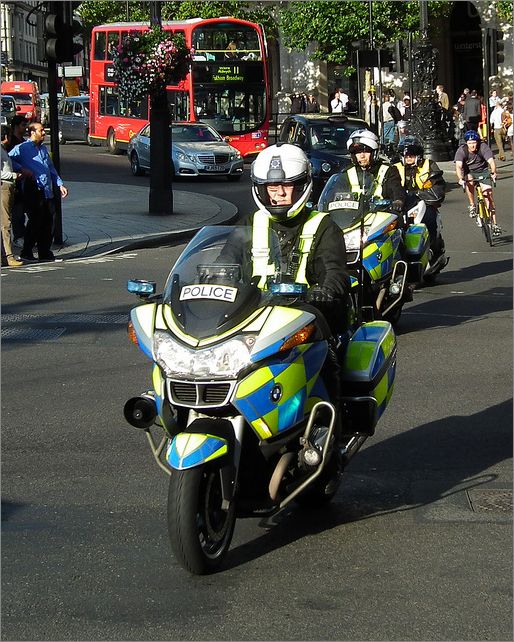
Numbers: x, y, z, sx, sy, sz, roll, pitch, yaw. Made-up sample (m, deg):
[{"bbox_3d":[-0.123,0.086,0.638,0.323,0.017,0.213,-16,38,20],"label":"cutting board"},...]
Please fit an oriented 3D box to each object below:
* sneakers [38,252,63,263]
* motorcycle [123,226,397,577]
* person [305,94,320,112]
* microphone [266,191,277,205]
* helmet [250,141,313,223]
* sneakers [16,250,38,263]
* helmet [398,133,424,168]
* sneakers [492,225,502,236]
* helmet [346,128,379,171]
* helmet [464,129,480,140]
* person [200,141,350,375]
[{"bbox_3d":[-3.872,-1.178,12.614,0.502,0.193,0.163,-2,7,-9],"label":"sneakers"},{"bbox_3d":[-0.049,0.273,2.995,0.760,1.063,1.836,-2,2,18],"label":"motorcycle"},{"bbox_3d":[3.304,-12.812,40.145,0.722,0.921,1.756,-2,4,5],"label":"person"},{"bbox_3d":[0.066,-0.547,2.995,0.038,0.050,0.013,16,26,26],"label":"microphone"},{"bbox_3d":[0.109,-0.640,3.061,0.271,0.352,0.281,-1,3,3],"label":"helmet"},{"bbox_3d":[-4.275,-1.204,12.603,0.179,0.206,0.515,-7,8,-42],"label":"sneakers"},{"bbox_3d":[2.328,-2.609,10.468,0.405,0.467,0.486,-6,-7,9],"label":"helmet"},{"bbox_3d":[5.193,-1.959,14.614,0.185,0.224,0.205,-4,-2,5],"label":"sneakers"},{"bbox_3d":[1.206,-1.947,7.661,0.331,0.493,0.411,-1,3,8],"label":"helmet"},{"bbox_3d":[4.758,-4.153,15.093,0.295,0.177,0.404,-3,-2,2],"label":"helmet"},{"bbox_3d":[0.052,-0.206,3.167,0.775,1.163,0.736,3,9,11],"label":"person"}]
